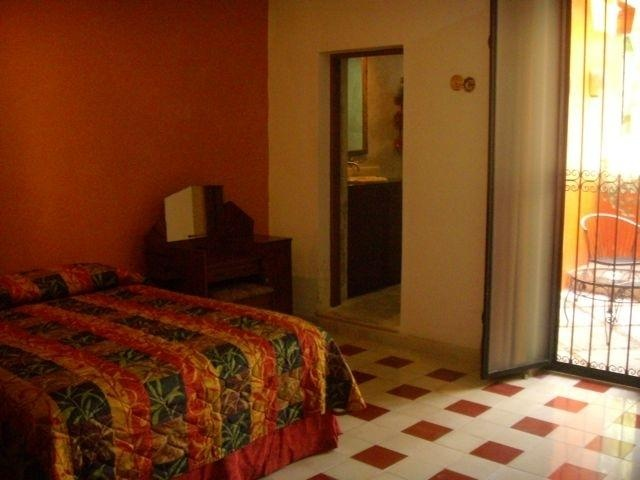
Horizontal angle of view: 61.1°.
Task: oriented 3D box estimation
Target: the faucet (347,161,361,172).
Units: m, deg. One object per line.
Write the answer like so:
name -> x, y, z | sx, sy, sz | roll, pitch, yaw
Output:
faucet -> 0.408, -0.871, 6.446 | 0.077, 0.133, 0.220 | 4, 11, 38

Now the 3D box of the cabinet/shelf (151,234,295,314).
cabinet/shelf -> -0.792, 0.421, 4.810 | 0.593, 0.822, 1.104 | 3, 7, 35
